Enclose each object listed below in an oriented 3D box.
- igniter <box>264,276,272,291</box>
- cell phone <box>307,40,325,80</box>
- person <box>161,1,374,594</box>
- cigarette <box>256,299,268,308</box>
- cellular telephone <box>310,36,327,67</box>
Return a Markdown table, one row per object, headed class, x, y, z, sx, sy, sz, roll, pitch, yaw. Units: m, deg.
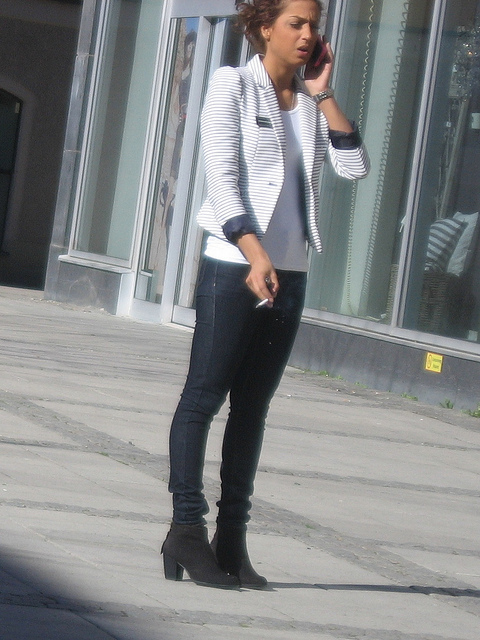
| class | x | y | z | sx | sy | sz | roll | pitch | yaw |
| --- | --- | --- | --- | --- | --- | --- | --- | --- | --- |
| igniter | 0.071 | -0.091 | 2.424 | 0.011 | 0.038 | 0.013 | -27 | -3 | -23 |
| cell phone | 0.214 | -0.719 | 2.757 | 0.023 | 0.083 | 0.092 | 17 | 9 | -6 |
| person | 0.034 | -0.074 | 2.662 | 0.407 | 1.539 | 0.502 | 13 | 1 | 22 |
| cigarette | 0.057 | -0.043 | 2.437 | 0.005 | 0.020 | 0.020 | 53 | -4 | 6 |
| cellular telephone | 0.219 | -0.742 | 2.758 | 0.021 | 0.068 | 0.072 | 15 | 36 | -21 |
